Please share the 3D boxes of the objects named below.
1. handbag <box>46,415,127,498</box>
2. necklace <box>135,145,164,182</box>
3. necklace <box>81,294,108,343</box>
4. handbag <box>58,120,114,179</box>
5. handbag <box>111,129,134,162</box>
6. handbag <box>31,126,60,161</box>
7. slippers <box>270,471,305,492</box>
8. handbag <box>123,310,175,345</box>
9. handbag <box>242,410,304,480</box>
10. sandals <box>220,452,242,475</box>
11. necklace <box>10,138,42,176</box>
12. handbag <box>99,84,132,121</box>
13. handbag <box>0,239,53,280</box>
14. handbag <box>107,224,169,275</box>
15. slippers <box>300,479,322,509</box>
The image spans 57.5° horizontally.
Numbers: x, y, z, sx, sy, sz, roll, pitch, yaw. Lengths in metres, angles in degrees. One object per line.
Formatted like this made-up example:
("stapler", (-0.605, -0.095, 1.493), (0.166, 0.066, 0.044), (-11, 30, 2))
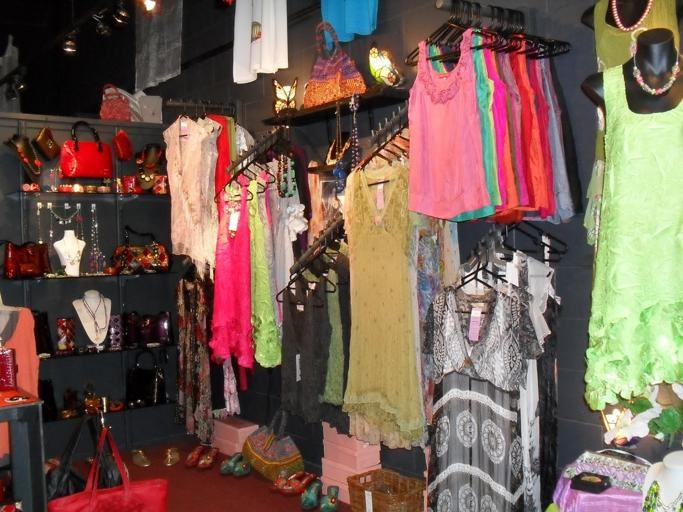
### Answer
("handbag", (-1.603, 1.279, 3.912), (0.422, 0.565, 0.229), (0, 4, -18))
("necklace", (-1.724, -0.842, 5.597), (0.193, 0.357, 0.158), (-2, 5, -8))
("necklace", (-2.133, 0.544, 5.447), (0.234, 0.419, 0.096), (-3, -9, -31))
("handbag", (-2.236, -0.915, 5.387), (0.458, 0.596, 0.140), (-1, -1, -32))
("handbag", (-1.958, -0.980, 5.538), (0.082, 0.273, 0.178), (-4, 11, 22))
("handbag", (-2.495, -0.950, 5.268), (0.082, 0.259, 0.247), (8, 8, -3))
("slippers", (-0.380, 1.614, 4.493), (0.120, 0.044, 0.146), (6, 13, 36))
("handbag", (-1.789, 0.628, 5.705), (0.452, 0.363, 0.269), (0, 23, -13))
("handbag", (-0.522, 1.390, 4.734), (0.456, 0.596, 0.237), (14, 0, 32))
("sandals", (-0.858, 1.626, 4.846), (0.084, 0.091, 0.197), (1, -1, 20))
("necklace", (-2.570, -0.830, 5.103), (0.073, 0.309, 0.219), (-17, 14, 17))
("handbag", (-2.133, -1.453, 5.791), (0.218, 0.140, 0.383), (4, -31, -26))
("handbag", (-2.577, 0.040, 5.061), (0.286, 0.314, 0.133), (-3, 1, -36))
("handbag", (-1.799, -0.004, 5.604), (0.492, 0.494, 0.232), (-2, -27, -23))
("slippers", (-0.210, 1.659, 4.279), (0.146, 0.148, 0.169), (0, -3, -1))
